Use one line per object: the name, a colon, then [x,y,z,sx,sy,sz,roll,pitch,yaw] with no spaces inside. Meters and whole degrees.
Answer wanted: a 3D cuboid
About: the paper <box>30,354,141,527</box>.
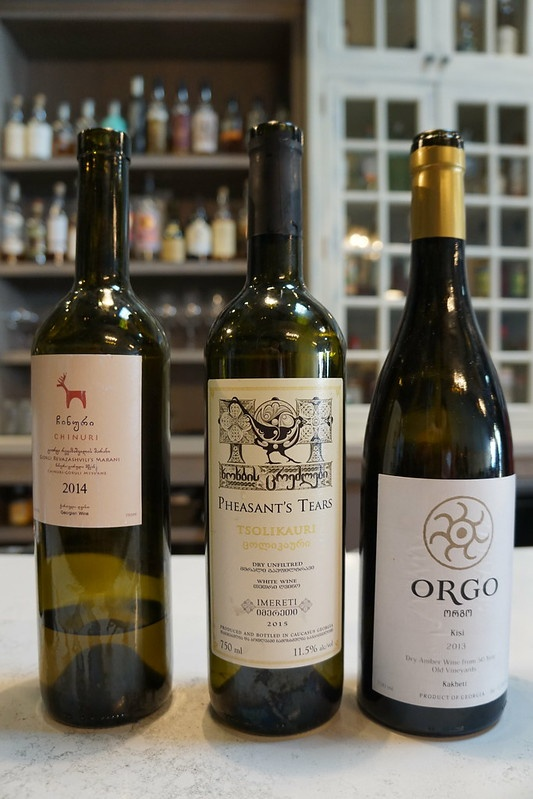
paper: [-0.101,0.027,0.531,0.078,0.113,0.068,0,0,-5]
